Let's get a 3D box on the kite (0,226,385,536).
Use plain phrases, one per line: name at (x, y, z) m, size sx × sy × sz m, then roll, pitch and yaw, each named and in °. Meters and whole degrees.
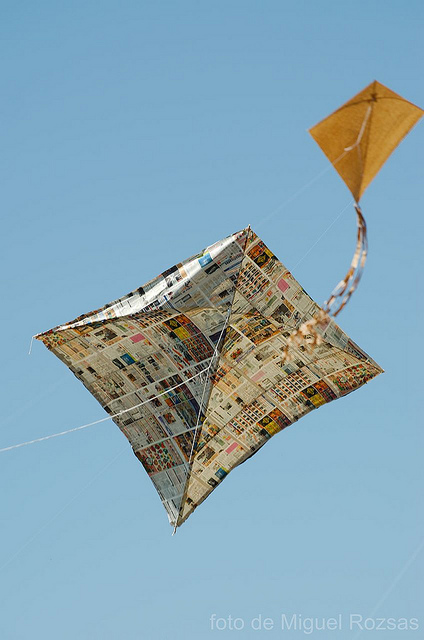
kite at (-0.646, 0.062, 11.379) m, size 3.862 × 3.713 × 1.598 m, roll -36°, pitch 30°, yaw 12°
